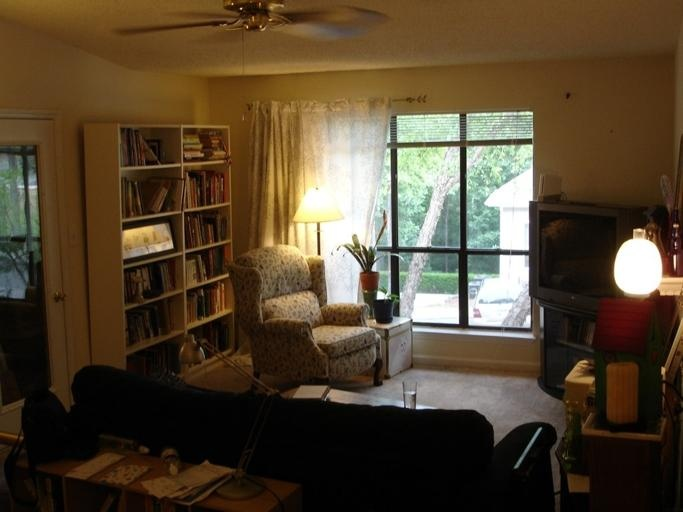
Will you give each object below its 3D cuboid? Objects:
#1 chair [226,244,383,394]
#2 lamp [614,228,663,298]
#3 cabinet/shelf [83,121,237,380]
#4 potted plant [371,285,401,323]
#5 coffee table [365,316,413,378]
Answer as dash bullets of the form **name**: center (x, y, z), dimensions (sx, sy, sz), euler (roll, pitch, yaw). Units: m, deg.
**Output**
- **chair**: center (-0.390, 0.491, 5.615), dimensions (1.403, 1.561, 1.172), euler (-1, 2, 33)
- **lamp**: center (1.329, 0.020, 2.593), dimensions (0.263, 0.384, 0.272), euler (1, 3, 22)
- **cabinet/shelf**: center (-1.670, -0.090, 5.456), dimensions (0.433, 2.325, 1.537), euler (5, 9, 26)
- **potted plant**: center (0.441, 0.506, 5.869), dimensions (0.303, 0.317, 0.273), euler (0, -2, -32)
- **coffee table**: center (0.427, 0.849, 5.903), dimensions (0.456, 0.601, 0.598), euler (2, 4, 27)
